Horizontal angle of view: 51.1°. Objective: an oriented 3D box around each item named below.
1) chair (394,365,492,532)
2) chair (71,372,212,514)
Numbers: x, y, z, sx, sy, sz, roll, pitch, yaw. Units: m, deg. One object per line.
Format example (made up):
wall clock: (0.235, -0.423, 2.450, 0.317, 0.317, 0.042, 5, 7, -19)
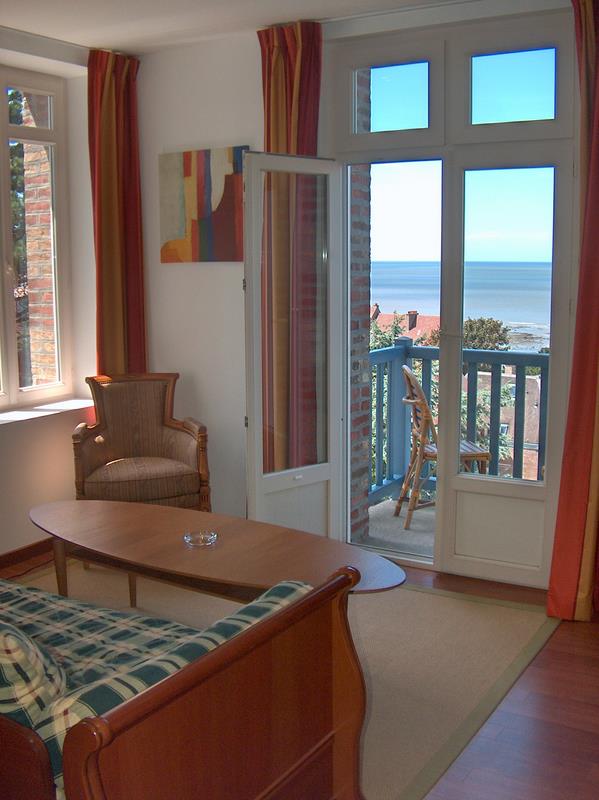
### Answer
chair: (0.925, 0.305, 4.115, 0.498, 1.025, 0.465, 0, 6, 3)
chair: (-0.918, 0.310, 3.688, 0.709, 1.001, 0.604, -2, 1, -15)
